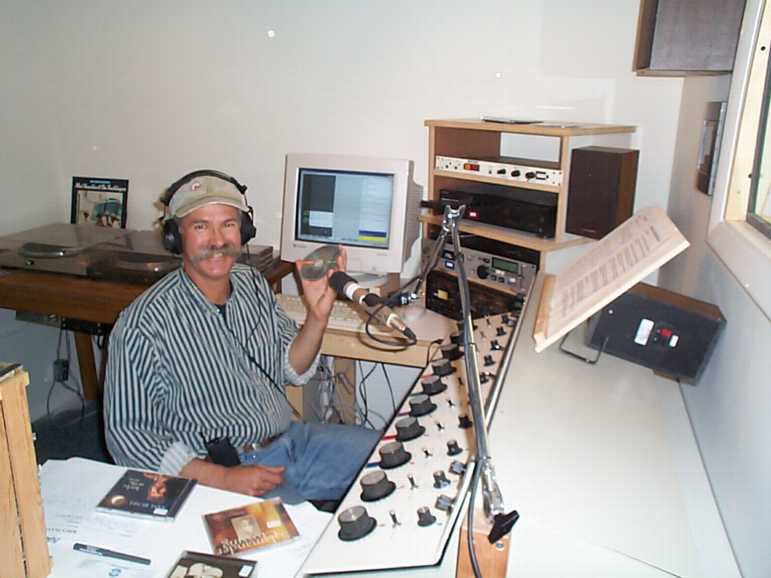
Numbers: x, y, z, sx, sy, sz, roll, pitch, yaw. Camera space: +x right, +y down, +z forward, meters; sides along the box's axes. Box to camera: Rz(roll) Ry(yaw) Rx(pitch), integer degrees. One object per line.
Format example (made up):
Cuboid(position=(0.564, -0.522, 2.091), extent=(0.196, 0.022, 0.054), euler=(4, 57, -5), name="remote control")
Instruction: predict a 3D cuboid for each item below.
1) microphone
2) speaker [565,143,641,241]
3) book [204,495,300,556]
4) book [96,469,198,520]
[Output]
Cuboid(position=(-0.057, 0.069, 1.982), extent=(0.077, 0.099, 0.409), euler=(-22, 44, -25), name="microphone")
Cuboid(position=(0.910, -0.413, 2.350), extent=(0.221, 0.370, 0.276), euler=(11, 17, 32), name="speaker")
Cuboid(position=(-0.318, 0.565, 1.324), extent=(0.207, 0.033, 0.140), euler=(-4, 16, -20), name="book")
Cuboid(position=(-0.598, 0.516, 1.403), extent=(0.203, 0.034, 0.131), euler=(4, 16, 9), name="book")
